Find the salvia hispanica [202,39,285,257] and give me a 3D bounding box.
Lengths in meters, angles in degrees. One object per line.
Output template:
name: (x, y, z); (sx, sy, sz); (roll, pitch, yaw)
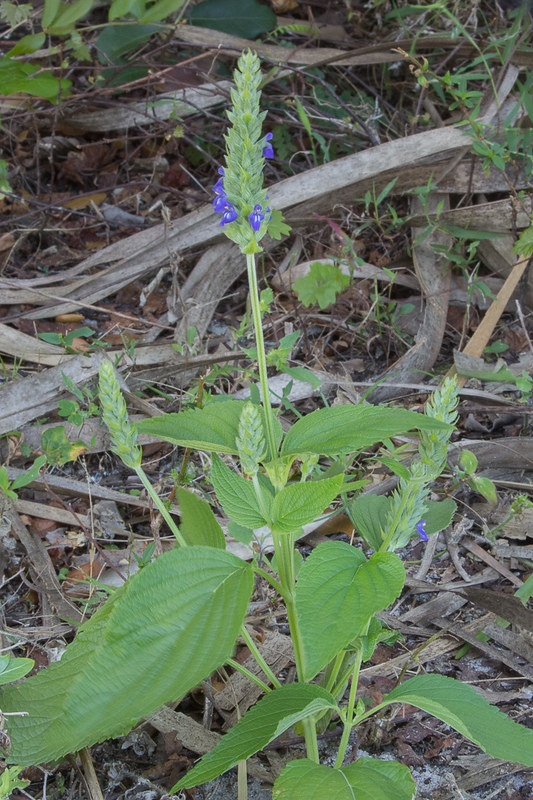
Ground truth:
salvia hispanica: (-0.040, -0.399, 1.326); (0.114, 0.417, 0.301); (-3, 49, -2)
